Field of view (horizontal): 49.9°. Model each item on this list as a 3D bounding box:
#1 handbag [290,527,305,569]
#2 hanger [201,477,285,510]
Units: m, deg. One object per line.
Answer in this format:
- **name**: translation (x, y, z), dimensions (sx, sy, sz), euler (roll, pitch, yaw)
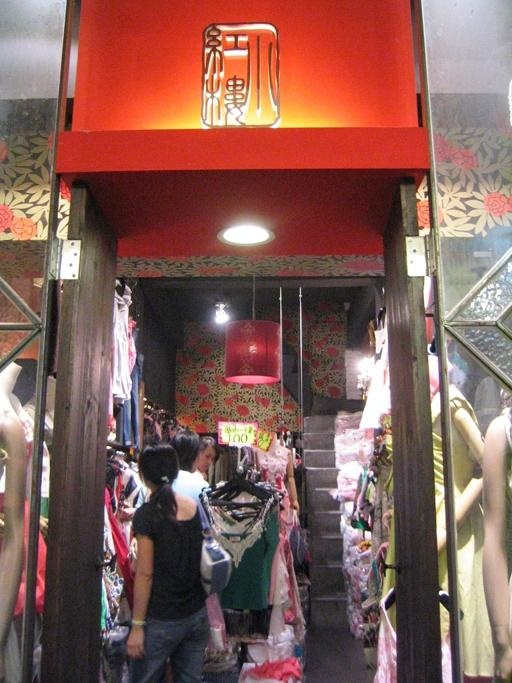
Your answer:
- **handbag**: translation (0.314, 1.527, 4.114), dimensions (0.094, 0.347, 0.085), euler (-9, 4, 22)
- **hanger**: translation (-0.060, 0.801, 2.894), dimensions (0.316, 0.232, 0.529), euler (0, -9, 7)
